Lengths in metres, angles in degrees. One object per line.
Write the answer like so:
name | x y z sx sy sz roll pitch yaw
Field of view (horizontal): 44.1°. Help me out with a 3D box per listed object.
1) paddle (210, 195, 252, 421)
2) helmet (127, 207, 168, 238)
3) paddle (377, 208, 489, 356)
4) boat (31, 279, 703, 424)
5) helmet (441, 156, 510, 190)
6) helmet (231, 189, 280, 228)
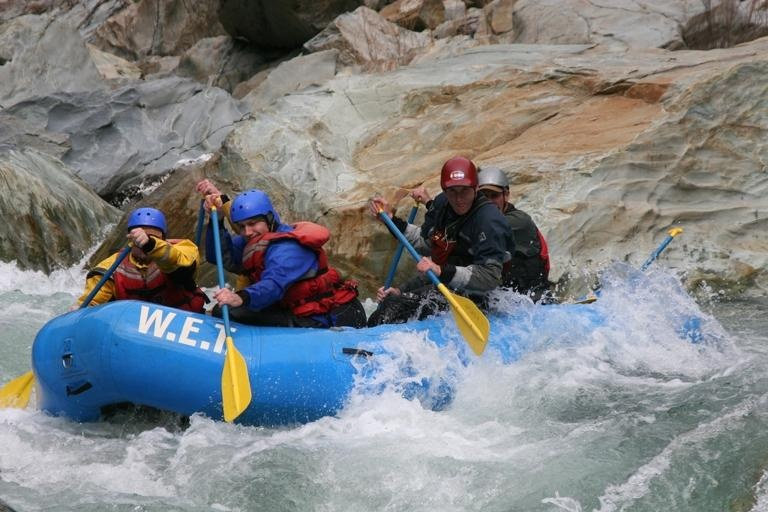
paddle | -1.501 0.762 9.528 0.313 1.670 1.141 3 11 -20
helmet | -2.468 -0.385 9.962 0.299 0.322 0.353 -3 -12 5
paddle | 0.573 0.303 10.041 2.291 0.422 0.117 49 -1 5
boat | -1.130 0.963 9.637 3.973 0.747 1.967 -4 4 -9
helmet | 0.977 -0.868 10.043 0.628 0.280 0.398 4 0 -21
helmet | -1.272 -0.502 9.792 0.350 0.327 0.445 1 12 45
